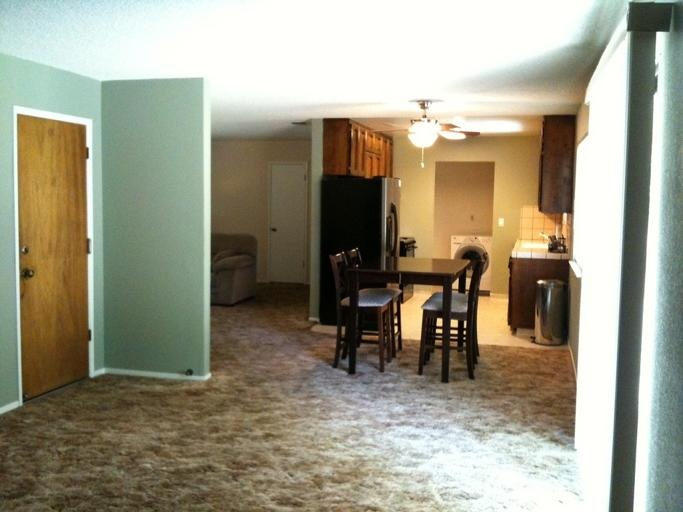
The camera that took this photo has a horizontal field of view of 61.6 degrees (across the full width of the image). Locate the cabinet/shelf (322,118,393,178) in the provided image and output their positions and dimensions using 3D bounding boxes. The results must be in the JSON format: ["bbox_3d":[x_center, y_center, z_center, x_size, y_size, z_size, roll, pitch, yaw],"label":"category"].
[{"bbox_3d":[0.290,-1.408,8.003,0.338,0.713,2.091,4,6,20],"label":"cabinet/shelf"}]

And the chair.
[{"bbox_3d":[0.670,0.493,5.675,1.421,1.111,1.377,3,9,14],"label":"chair"}]

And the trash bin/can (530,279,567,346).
[{"bbox_3d":[2.277,0.624,6.227,0.342,0.709,0.265,4,9,21],"label":"trash bin/can"}]

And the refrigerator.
[{"bbox_3d":[0.315,-0.119,7.507,1.028,1.991,1.135,6,17,22],"label":"refrigerator"}]

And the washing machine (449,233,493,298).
[{"bbox_3d":[2.300,0.047,9.877,0.725,1.021,0.587,2,21,20],"label":"washing machine"}]
